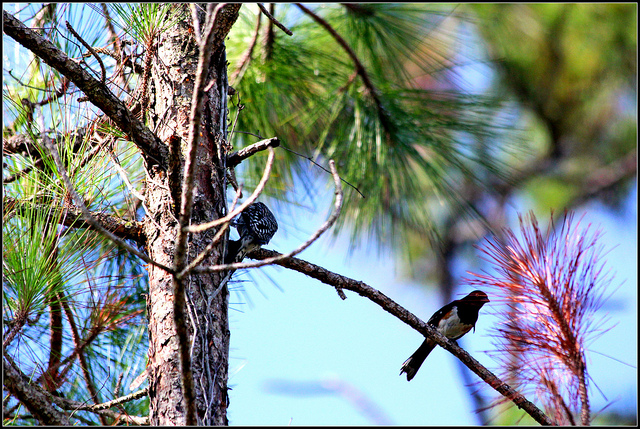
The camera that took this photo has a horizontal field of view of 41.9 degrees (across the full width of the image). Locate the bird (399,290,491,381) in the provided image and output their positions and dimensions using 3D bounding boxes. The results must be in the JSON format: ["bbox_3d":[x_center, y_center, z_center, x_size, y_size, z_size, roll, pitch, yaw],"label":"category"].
[{"bbox_3d":[0.971,0.916,6.481,0.819,0.370,0.290,-32,-43,22],"label":"bird"}]
